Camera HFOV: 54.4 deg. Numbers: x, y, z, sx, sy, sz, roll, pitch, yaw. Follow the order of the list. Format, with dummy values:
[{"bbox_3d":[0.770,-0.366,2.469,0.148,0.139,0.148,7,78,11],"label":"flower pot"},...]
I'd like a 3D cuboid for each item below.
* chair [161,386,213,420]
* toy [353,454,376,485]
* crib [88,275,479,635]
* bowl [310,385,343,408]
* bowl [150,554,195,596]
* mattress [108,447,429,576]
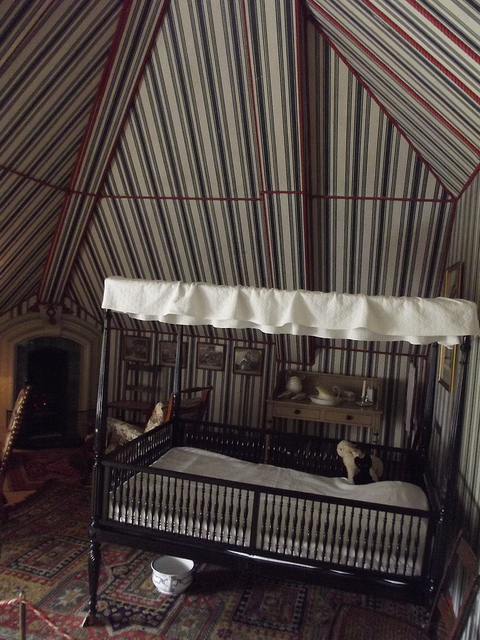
[{"bbox_3d":[-0.521,0.935,5.214,0.309,0.289,0.439,0,4,-25],"label":"chair"},{"bbox_3d":[0.980,1.173,3.709,0.136,0.223,0.053,-1,-11,-25],"label":"toy"},{"bbox_3d":[0.421,1.032,3.694,2.322,2.281,1.519,5,7,18],"label":"crib"},{"bbox_3d":[1.062,0.933,5.640,0.236,0.129,0.254,15,-9,2],"label":"bowl"},{"bbox_3d":[-0.461,1.901,3.471,0.269,0.145,0.293,3,-9,0],"label":"bowl"},{"bbox_3d":[0.275,1.258,3.273,1.584,0.643,0.862,9,13,15],"label":"mattress"}]
